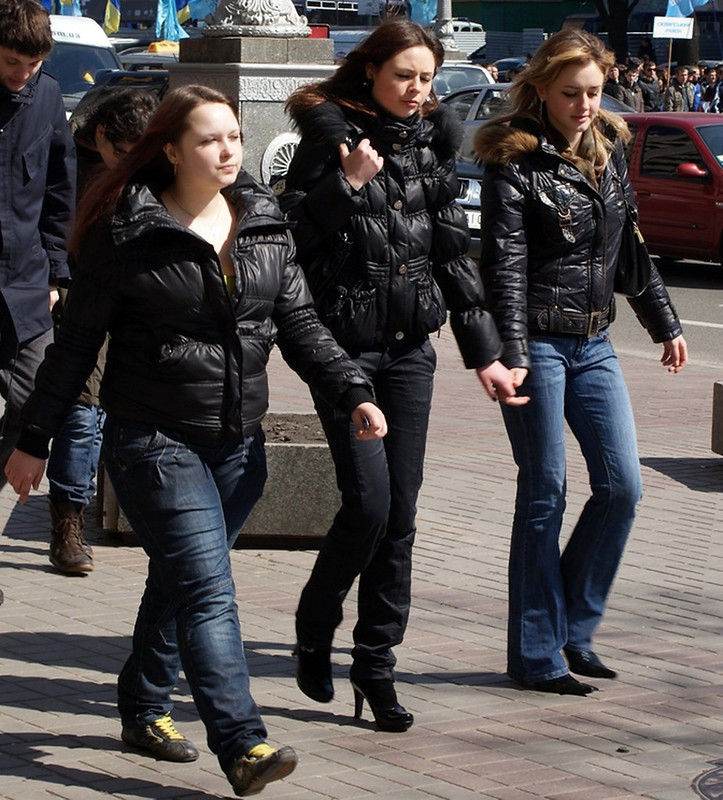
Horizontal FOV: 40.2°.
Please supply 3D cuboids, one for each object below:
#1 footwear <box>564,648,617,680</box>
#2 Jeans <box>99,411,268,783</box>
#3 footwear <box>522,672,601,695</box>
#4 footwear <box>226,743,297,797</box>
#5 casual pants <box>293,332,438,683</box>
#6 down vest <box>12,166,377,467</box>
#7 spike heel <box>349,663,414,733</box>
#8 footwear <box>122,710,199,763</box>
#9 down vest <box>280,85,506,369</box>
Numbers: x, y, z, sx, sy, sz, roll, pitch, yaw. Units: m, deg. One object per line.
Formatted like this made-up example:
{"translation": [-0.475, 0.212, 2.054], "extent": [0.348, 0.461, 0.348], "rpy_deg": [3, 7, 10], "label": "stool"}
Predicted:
{"translation": [0.785, 0.923, 3.474], "extent": [0.218, 0.066, 0.075], "rpy_deg": [3, 3, 41], "label": "footwear"}
{"translation": [-0.443, 0.480, 2.463], "extent": [0.412, 0.861, 0.612], "rpy_deg": [2, 8, -8], "label": "Jeans"}
{"translation": [0.659, 0.949, 3.321], "extent": [0.278, 0.076, 0.078], "rpy_deg": [-3, -3, 12], "label": "footwear"}
{"translation": [-0.220, 0.830, 2.209], "extent": [0.091, 0.140, 0.145], "rpy_deg": [-3, 9, -33], "label": "footwear"}
{"translation": [0.025, 0.274, 3.000], "extent": [0.515, 1.021, 0.441], "rpy_deg": [-1, -1, -19], "label": "casual pants"}
{"translation": [-0.386, -0.215, 2.463], "extent": [0.797, 0.739, 0.305], "rpy_deg": [-2, 10, -30], "label": "down vest"}
{"translation": [0.068, 0.892, 2.951], "extent": [0.090, 0.148, 0.257], "rpy_deg": [9, -3, -41], "label": "spike heel"}
{"translation": [-0.592, 0.911, 2.704], "extent": [0.291, 0.093, 0.092], "rpy_deg": [1, 3, 32], "label": "footwear"}
{"translation": [0.012, -0.533, 3.051], "extent": [0.895, 0.785, 0.520], "rpy_deg": [-11, 22, -38], "label": "down vest"}
